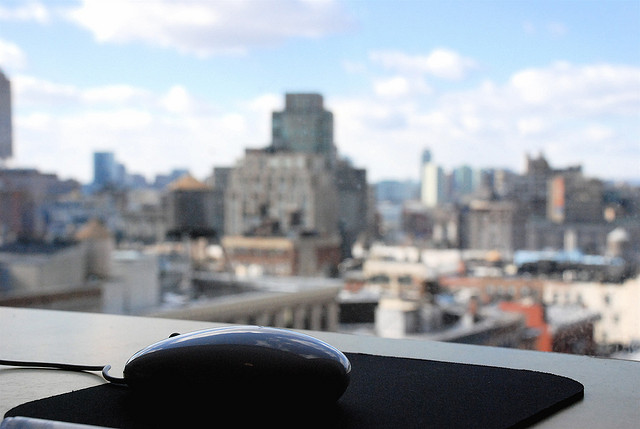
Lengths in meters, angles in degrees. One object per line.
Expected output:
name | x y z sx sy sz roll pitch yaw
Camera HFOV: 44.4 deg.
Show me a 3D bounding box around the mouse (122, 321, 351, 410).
mouse | -0.149 0.270 1.406 0.405 0.121 0.102 1 13 3
